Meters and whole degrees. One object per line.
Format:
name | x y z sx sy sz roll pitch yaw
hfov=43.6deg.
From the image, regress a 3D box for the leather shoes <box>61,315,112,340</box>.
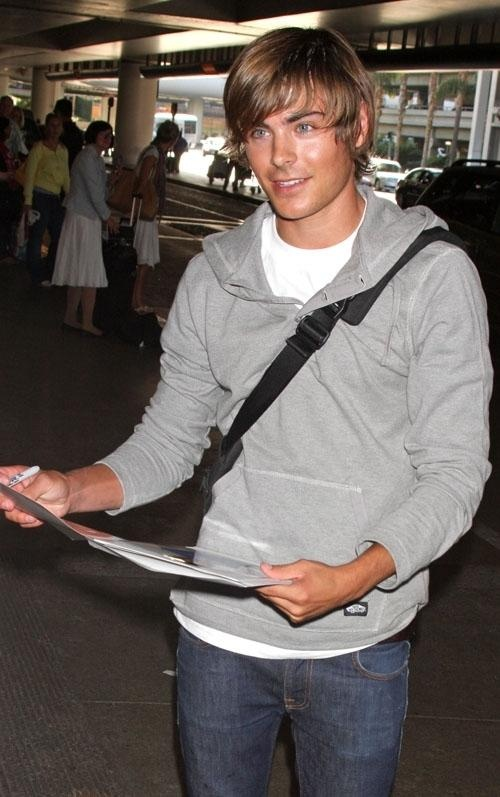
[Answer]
leather shoes | -2.138 -0.866 8.038 0.640 0.239 0.225 12 16 -16
